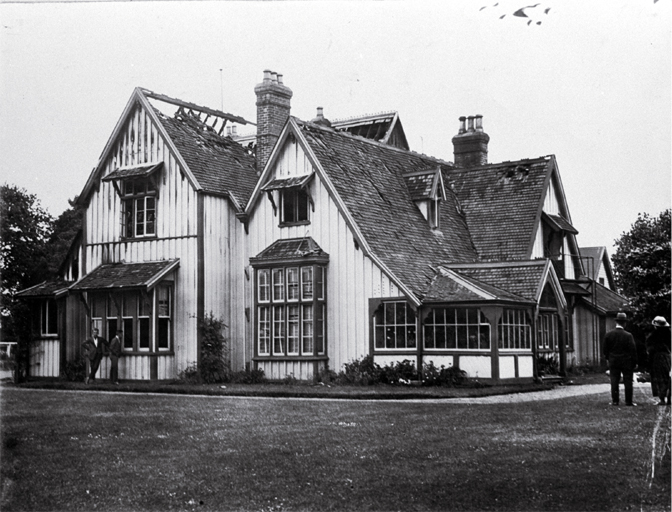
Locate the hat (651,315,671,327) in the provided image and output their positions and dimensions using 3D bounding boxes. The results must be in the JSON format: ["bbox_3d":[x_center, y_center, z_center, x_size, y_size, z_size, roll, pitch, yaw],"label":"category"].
[{"bbox_3d":[7.241,1.434,20.351,0.294,0.215,0.478,3,6,18],"label":"hat"}]

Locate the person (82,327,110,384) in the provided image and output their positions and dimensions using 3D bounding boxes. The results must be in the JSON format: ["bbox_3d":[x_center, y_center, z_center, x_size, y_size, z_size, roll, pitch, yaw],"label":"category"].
[{"bbox_3d":[-7.785,3.152,29.367,0.739,1.593,1.359,0,5,-16],"label":"person"}]

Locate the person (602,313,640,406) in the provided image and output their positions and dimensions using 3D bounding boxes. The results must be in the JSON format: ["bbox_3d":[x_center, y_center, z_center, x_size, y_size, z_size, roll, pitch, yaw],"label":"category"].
[{"bbox_3d":[6.551,2.550,21.022,0.725,1.706,1.008,3,5,20],"label":"person"}]

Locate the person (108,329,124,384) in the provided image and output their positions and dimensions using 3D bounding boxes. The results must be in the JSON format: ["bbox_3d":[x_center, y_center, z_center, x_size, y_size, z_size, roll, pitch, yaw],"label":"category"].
[{"bbox_3d":[-7.075,3.180,29.050,0.372,1.553,0.924,0,5,-9],"label":"person"}]
